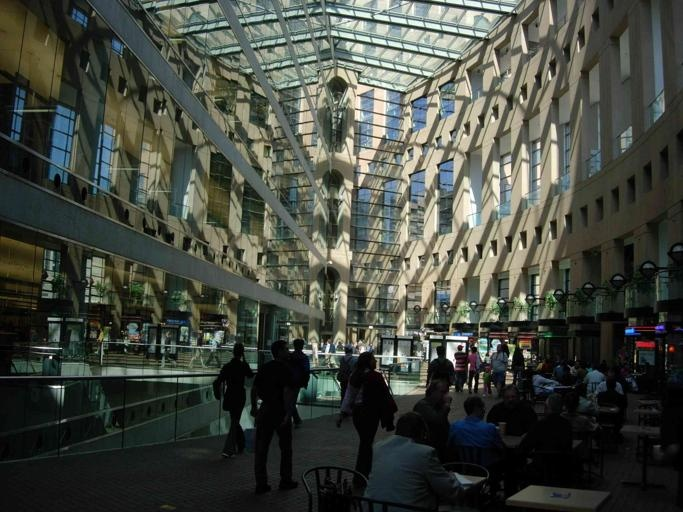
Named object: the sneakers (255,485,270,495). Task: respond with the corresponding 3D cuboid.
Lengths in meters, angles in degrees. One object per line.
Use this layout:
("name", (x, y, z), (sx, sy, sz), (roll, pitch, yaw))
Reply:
("sneakers", (-1.328, 3.986, 12.310), (0.287, 0.160, 0.136), (7, -13, -25))

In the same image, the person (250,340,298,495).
("person", (-1.209, 2.877, 13.095), (0.850, 2.660, 1.488), (3, -11, -7))
